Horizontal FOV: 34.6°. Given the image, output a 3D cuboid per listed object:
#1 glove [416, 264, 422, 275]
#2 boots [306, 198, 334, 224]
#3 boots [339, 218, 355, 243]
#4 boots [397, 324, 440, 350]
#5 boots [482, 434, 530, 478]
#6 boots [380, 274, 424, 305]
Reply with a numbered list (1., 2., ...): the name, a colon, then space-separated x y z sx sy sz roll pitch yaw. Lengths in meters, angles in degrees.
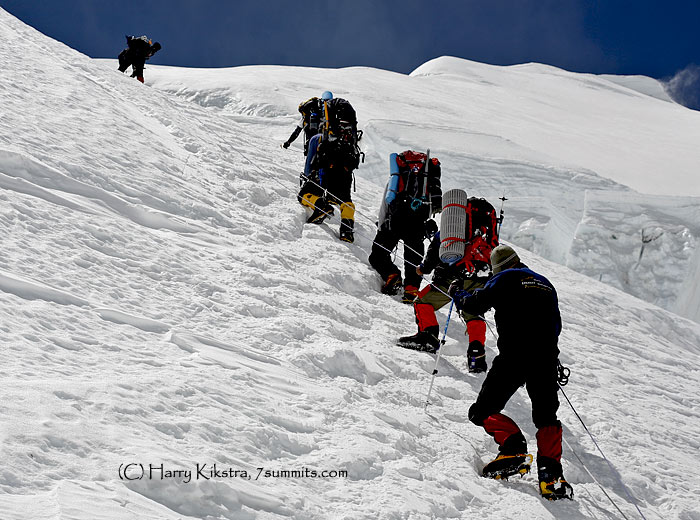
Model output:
1. glove: 1.303 0.208 21.210 0.127 0.146 0.062 12 18 37
2. boots: -0.550 -0.914 22.547 0.234 0.638 0.385 38 24 -42
3. boots: -0.080 -0.559 22.464 0.325 0.462 0.280 -1 32 -12
4. boots: 1.056 1.400 19.721 0.981 0.532 0.290 5 -16 -2
5. boots: 2.417 3.138 17.562 0.813 0.271 0.643 -21 -14 9
6. boots: 1.044 0.563 21.426 1.032 0.308 0.442 23 16 19
